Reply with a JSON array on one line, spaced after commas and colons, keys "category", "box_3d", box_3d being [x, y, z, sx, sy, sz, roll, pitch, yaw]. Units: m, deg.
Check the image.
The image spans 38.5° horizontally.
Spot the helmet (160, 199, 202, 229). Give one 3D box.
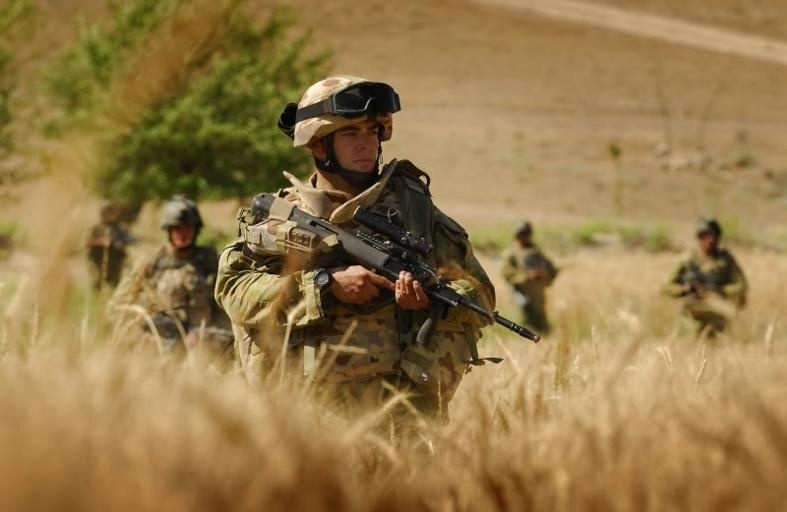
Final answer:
[{"category": "helmet", "box_3d": [-1.685, -0.322, 8.924, 0.212, 0.279, 0.288, 0, -6, -8]}]

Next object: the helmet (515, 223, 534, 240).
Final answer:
[{"category": "helmet", "box_3d": [1.299, -0.233, 11.248, 0.140, 0.200, 0.192, 2, 35, 7]}]

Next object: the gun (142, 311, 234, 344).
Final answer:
[{"category": "gun", "box_3d": [-1.398, 0.493, 7.667, 0.675, 0.107, 0.250, 14, 41, 37]}]
